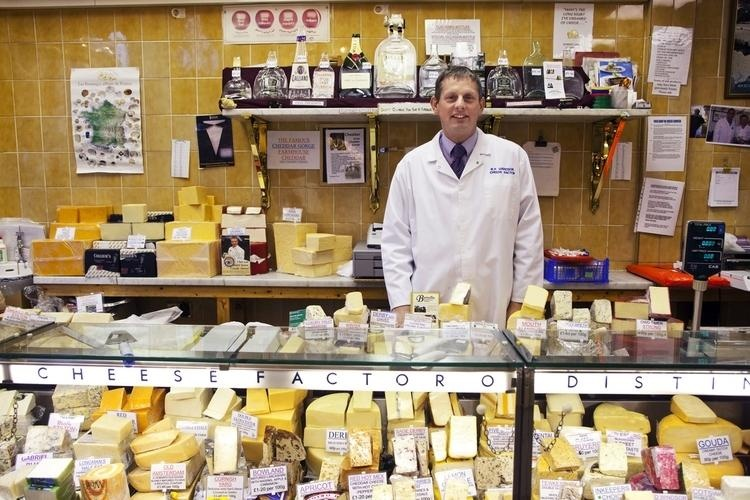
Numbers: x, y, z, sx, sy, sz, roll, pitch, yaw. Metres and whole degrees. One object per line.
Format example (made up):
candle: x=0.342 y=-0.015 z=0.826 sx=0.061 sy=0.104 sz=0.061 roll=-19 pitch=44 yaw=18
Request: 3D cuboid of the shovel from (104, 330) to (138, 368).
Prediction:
shovel: x=-0.988 y=0.389 z=2.624 sx=0.117 sy=0.036 sz=0.151 roll=-4 pitch=44 yaw=-31

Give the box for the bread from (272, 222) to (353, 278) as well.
bread: x=-0.416 y=-0.077 z=4.310 sx=0.398 sy=0.287 sz=0.361 roll=-4 pitch=11 yaw=-27

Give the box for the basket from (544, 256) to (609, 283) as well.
basket: x=1.234 y=0.124 z=4.134 sx=0.384 sy=0.156 sz=0.137 roll=3 pitch=11 yaw=15

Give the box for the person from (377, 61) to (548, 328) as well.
person: x=0.470 y=-0.272 z=3.618 sx=0.853 sy=1.378 sz=0.363 roll=-3 pitch=11 yaw=-11
